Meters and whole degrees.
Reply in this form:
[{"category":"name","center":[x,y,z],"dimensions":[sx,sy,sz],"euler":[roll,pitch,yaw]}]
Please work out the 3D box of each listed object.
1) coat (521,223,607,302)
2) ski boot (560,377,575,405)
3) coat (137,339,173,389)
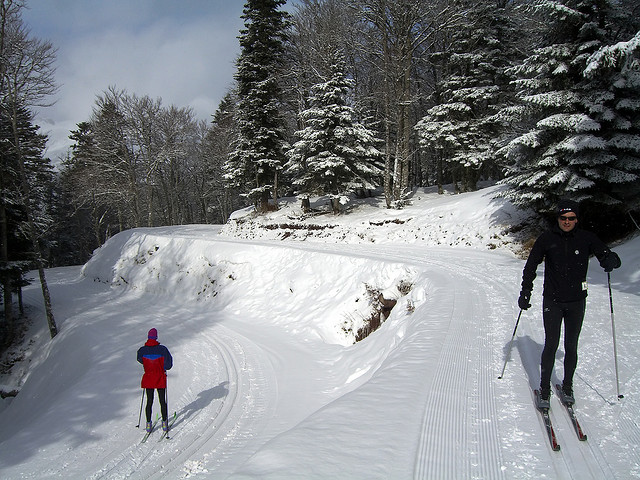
[{"category":"coat","center":[6.141,0.533,12.434],"dimensions":[1.889,2.071,1.054],"euler":[2,-6,35]},{"category":"ski boot","center":[6.207,3.788,12.431],"dimensions":[0.339,0.702,0.372],"euler":[-4,5,20]},{"category":"coat","center":[-5.264,3.760,15.653],"dimensions":[0.900,1.676,0.912],"euler":[-2,4,-20]}]
